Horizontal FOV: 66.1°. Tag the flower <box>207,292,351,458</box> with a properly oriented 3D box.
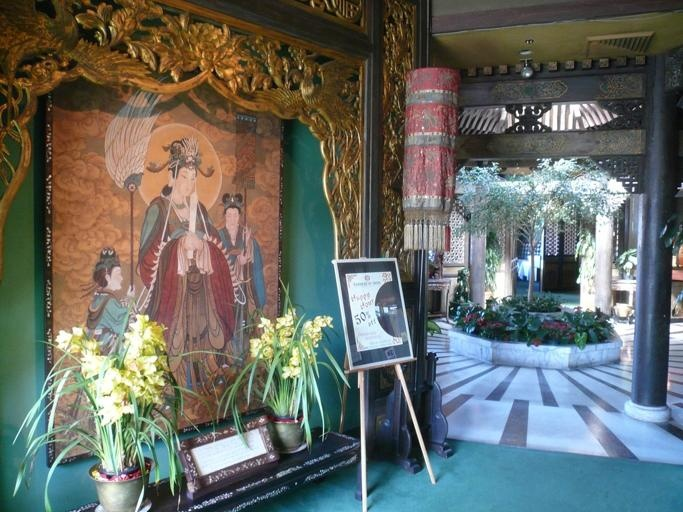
[{"bbox_3d":[-0.331,0.762,3.426,0.866,0.917,0.842,2,1,27],"label":"flower"}]

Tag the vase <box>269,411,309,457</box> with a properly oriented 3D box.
[{"bbox_3d":[-0.324,1.118,3.314,0.214,0.185,0.222,-2,-2,21],"label":"vase"}]
